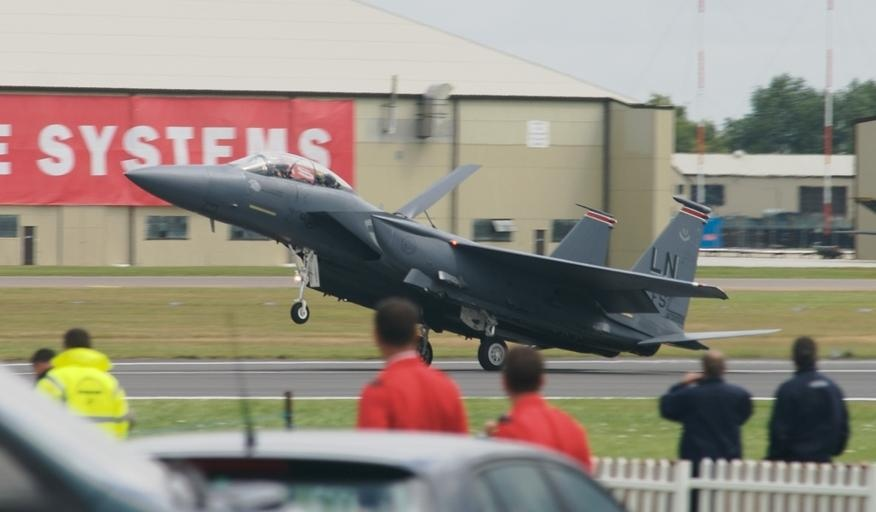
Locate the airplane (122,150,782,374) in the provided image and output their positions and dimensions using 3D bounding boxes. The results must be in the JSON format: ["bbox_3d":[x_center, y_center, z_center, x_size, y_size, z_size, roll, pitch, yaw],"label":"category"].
[{"bbox_3d":[-0.395,-0.454,111.151,34.232,9.469,35.010,15,-5,-32],"label":"airplane"}]
